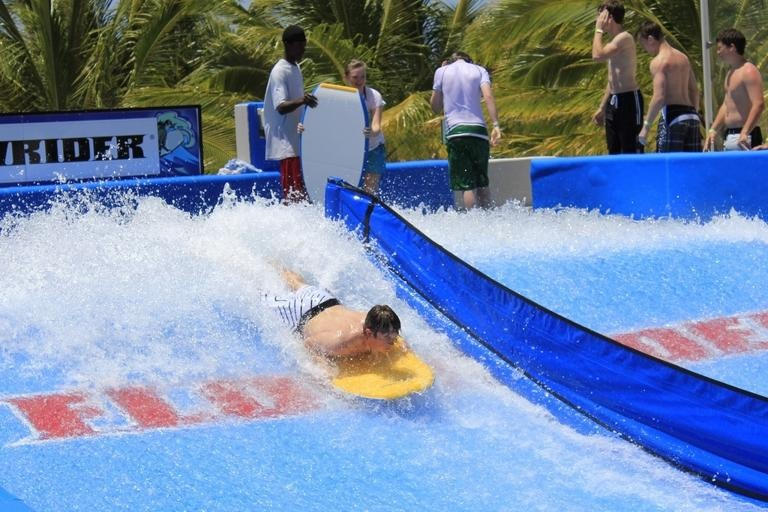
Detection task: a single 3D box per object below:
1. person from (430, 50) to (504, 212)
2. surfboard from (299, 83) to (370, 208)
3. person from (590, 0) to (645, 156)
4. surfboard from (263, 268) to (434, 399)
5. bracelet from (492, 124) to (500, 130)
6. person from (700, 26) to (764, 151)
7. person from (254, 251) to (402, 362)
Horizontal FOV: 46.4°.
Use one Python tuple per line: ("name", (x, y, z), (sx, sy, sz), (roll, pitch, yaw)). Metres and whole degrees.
("person", (0.780, -1.192, 8.525), (0.649, 1.507, 0.423), (-1, 9, 13))
("surfboard", (-0.435, -1.015, 8.217), (0.595, 0.315, 1.420), (4, -37, -6))
("person", (2.325, -1.782, 8.944), (0.470, 1.521, 0.537), (0, 9, 15))
("surfboard", (-0.225, 0.591, 6.362), (0.517, 0.433, 1.212), (-29, 40, -27))
("bracelet", (1.053, -1.233, 8.387), (0.067, 0.046, 0.070), (6, -17, -12))
("person", (3.605, -1.740, 9.328), (0.295, 1.246, 0.785), (-3, 9, -5))
("person", (-0.355, 0.440, 6.411), (0.438, 0.459, 0.947), (-33, 55, -28))
